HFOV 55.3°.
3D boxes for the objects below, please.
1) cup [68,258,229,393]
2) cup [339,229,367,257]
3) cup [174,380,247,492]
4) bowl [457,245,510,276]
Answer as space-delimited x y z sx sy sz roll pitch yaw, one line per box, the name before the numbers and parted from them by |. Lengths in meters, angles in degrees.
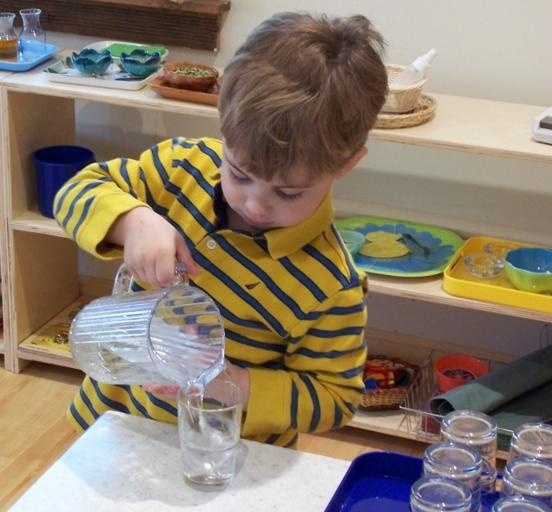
cup | -0.115 0.085 0.634 0.190 0.147 0.108 -1 -14 28
cup | 0.255 -0.048 1.742 0.103 0.055 0.085 0 28 0
cup | -0.076 0.192 0.597 0.076 0.150 0.088 2 31 -3
bowl | 0.681 0.008 1.717 0.127 0.047 0.224 12 27 19
